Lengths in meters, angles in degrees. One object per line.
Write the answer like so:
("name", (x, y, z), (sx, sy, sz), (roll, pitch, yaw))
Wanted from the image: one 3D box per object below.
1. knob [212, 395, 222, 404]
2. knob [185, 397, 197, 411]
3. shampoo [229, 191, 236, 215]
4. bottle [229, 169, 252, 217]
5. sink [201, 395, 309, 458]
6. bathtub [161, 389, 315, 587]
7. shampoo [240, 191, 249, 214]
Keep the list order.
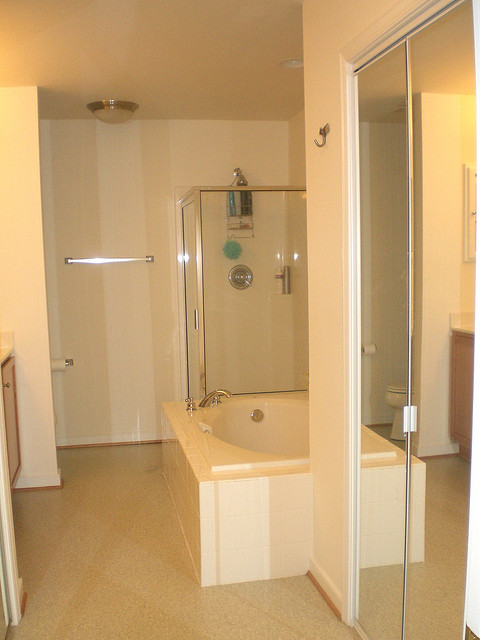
("knob", (-0.146, 0.481, 3.356), (0.049, 0.059, 0.052), (1, 9, -11))
("knob", (-0.301, 0.506, 3.304), (0.072, 0.079, 0.069), (1, 3, 29))
("shampoo", (-0.051, -0.784, 3.614), (0.040, 0.153, 0.012), (-2, 3, 0))
("bottle", (0.004, -0.866, 3.688), (0.131, 0.343, 0.133), (-2, -2, 0))
("sink", (0.102, 0.636, 3.290), (0.449, 0.178, 0.380), (1, 4, -31))
("bathtub", (0.041, 0.755, 2.400), (0.639, 0.437, 0.953), (-2, 10, -10))
("shampoo", (0.028, -0.789, 3.625), (0.056, 0.148, 0.016), (-2, 3, 2))
